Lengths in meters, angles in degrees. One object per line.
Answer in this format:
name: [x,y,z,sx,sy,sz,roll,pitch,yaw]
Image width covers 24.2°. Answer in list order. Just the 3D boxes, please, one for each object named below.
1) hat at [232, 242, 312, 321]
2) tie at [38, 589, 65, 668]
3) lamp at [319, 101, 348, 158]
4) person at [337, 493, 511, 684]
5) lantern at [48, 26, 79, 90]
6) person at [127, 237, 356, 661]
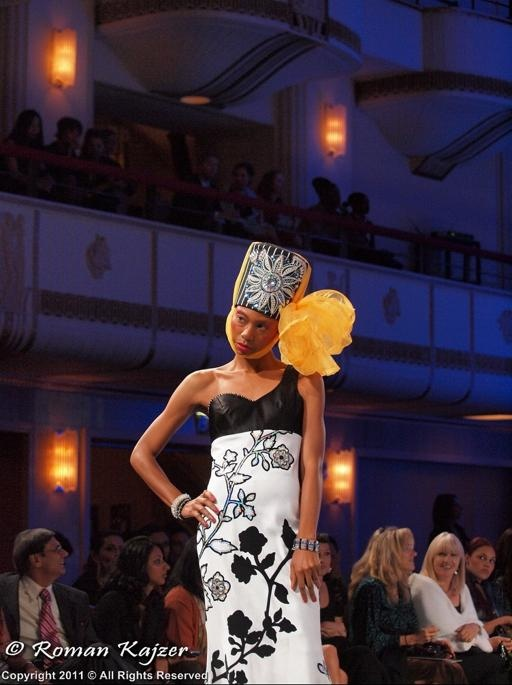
hat: [0.048,-0.211,4.091,0.263,0.226,0.278,24,-10,-7]
tie: [-1.145,1.568,6.638,0.168,0.416,0.133,3,-14,0]
lamp: [0.866,-2.436,13.511,0.144,0.709,0.330,-9,-18,37]
person: [0.966,1.606,7.348,1.079,0.937,0.515,14,-18,-40]
lantern: [-1.726,-2.571,10.733,0.286,0.599,0.099,13,-18,-37]
person: [-0.034,0.236,3.931,0.679,1.180,0.243,3,-15,-4]
